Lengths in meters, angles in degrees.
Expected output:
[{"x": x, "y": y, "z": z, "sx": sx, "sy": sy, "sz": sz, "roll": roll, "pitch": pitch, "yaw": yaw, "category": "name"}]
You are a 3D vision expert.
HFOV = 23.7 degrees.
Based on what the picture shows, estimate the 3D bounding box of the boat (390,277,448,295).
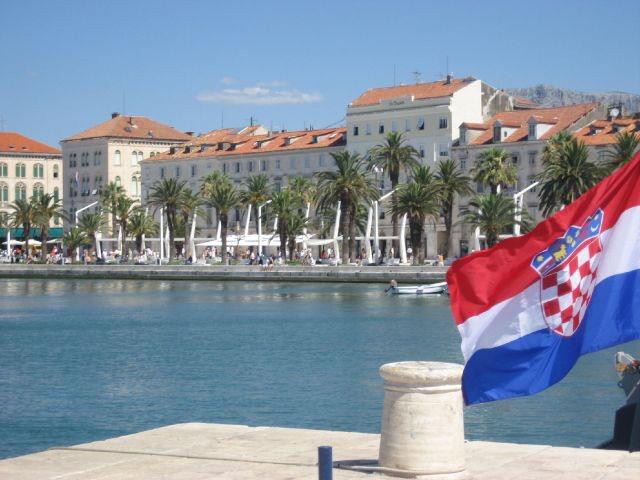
[{"x": 5.810, "y": 2.920, "z": 91.783, "sx": 3.499, "sy": 0.798, "sz": 2.490, "roll": -1, "pitch": -2, "yaw": -3, "category": "boat"}]
